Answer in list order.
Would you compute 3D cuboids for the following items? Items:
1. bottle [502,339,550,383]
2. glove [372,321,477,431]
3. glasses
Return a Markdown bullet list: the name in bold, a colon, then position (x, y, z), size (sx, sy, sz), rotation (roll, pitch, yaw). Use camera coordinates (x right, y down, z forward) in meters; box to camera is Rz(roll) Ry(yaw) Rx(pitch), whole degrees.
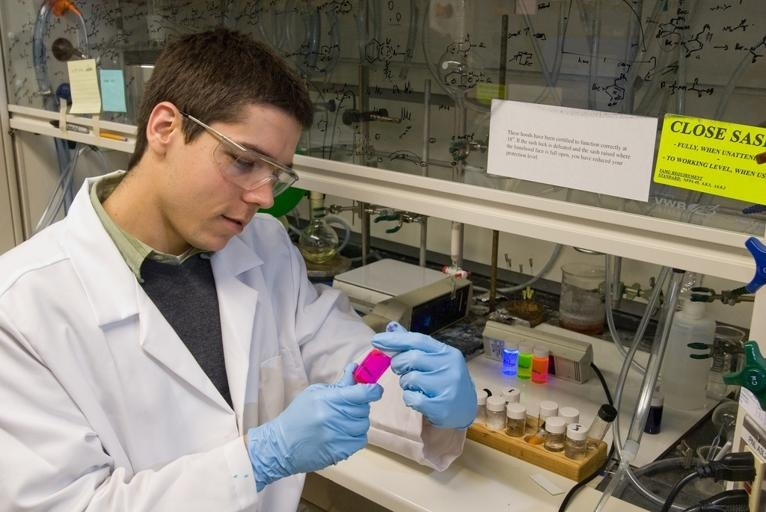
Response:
- **bottle**: position (0.557, 0.393, 2.081), size (0.206, 0.209, 0.110), rotation (4, 11, 23)
- **glove**: position (0.147, 0.333, 1.579), size (0.275, 0.265, 0.368), rotation (-10, -10, 11)
- **glasses**: position (-0.375, -0.240, 1.430), size (0.239, 0.071, 0.230), rotation (44, 7, 35)
